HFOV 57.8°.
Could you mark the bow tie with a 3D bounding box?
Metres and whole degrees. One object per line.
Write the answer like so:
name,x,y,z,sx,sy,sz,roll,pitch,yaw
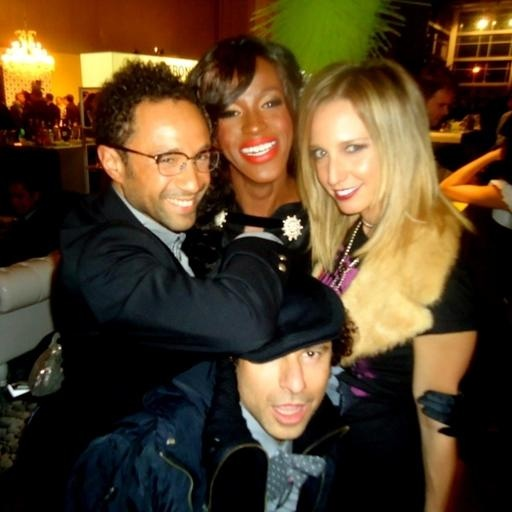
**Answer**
bow tie,0.122,0.722,1.474,0.174,0.209,0.129,5,20,8
